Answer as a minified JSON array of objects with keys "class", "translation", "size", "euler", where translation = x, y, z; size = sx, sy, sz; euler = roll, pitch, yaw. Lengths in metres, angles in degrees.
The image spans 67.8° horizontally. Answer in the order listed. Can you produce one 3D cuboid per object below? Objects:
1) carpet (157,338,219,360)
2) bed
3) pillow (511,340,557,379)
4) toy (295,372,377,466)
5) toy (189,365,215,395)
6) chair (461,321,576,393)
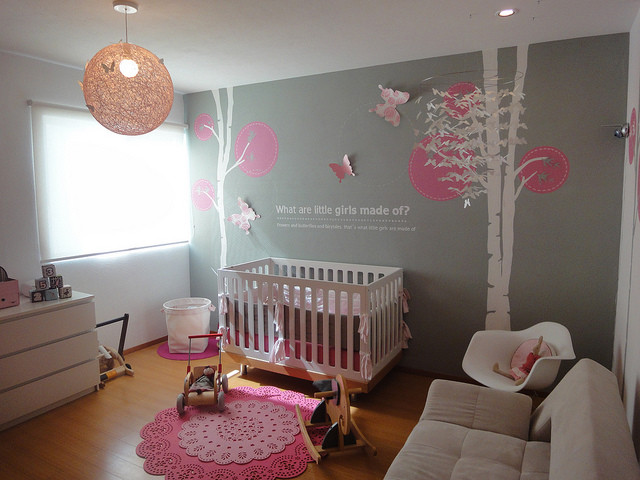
[{"class":"carpet","translation":[-1.349,1.119,4.870],"size":[0.383,0.009,0.386],"euler":[0,2,-33]},{"class":"bed","translation":[0.054,0.478,4.381],"size":[1.433,0.944,1.072],"euler":[2,5,30]},{"class":"pillow","translation":[1.594,0.921,3.576],"size":[0.275,0.065,0.259],"euler":[-31,24,14]},{"class":"toy","translation":[0.065,1.270,3.525],"size":[0.366,0.534,0.737],"euler":[0,1,-11]},{"class":"toy","translation":[-0.978,1.170,3.940],"size":[0.142,0.126,0.199],"euler":[1,-2,0]},{"class":"chair","translation":[1.446,0.866,3.500],"size":[0.619,0.451,0.632],"euler":[-3,3,-20]}]
